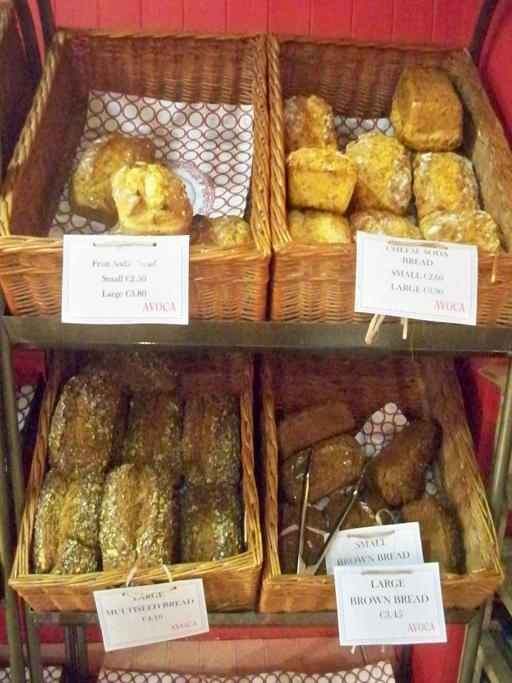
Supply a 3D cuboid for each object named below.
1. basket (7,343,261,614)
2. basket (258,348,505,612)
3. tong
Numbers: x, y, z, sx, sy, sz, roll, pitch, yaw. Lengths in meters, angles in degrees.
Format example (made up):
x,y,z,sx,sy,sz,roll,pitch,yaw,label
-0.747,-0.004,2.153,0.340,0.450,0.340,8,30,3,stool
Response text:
x,y,z,sx,sy,sz,roll,pitch,yaw,label
-0.167,0.196,0.806,0.346,0.166,0.347,1,52,-5,basket
0.240,0.172,0.912,0.273,0.161,0.514,2,54,-2,basket
0.131,0.265,0.816,0.028,0.064,0.238,27,55,23,tong
